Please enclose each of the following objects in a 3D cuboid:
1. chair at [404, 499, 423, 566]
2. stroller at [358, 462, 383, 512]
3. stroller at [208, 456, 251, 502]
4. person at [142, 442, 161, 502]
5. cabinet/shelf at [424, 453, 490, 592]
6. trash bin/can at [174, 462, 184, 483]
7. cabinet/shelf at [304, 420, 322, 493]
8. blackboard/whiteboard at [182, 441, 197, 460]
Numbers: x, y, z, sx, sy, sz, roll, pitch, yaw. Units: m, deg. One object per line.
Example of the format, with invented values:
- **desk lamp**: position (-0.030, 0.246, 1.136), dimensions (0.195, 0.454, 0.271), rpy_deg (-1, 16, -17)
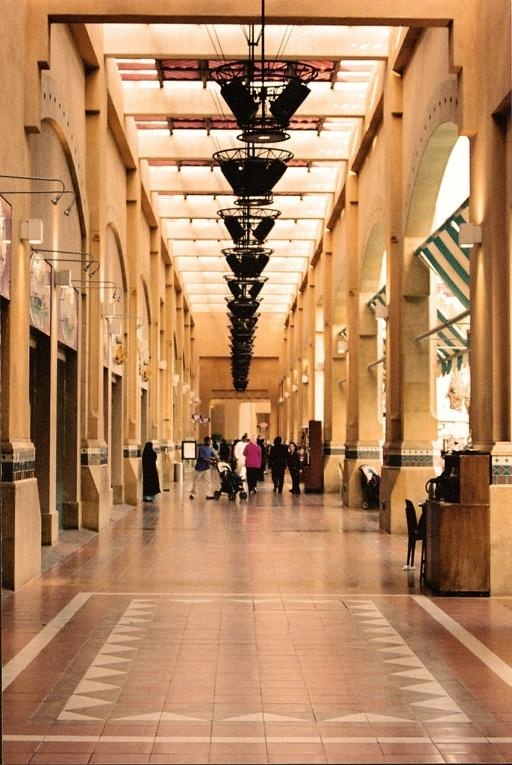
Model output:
- **chair**: position (2.144, 2.010, 10.501), dimensions (0.238, 0.886, 2.474), rpy_deg (-1, -7, 11)
- **stroller**: position (2.858, 2.638, 19.645), dimensions (0.640, 1.723, 0.636), rpy_deg (1, -1, -2)
- **stroller**: position (-0.769, 2.959, 23.115), dimensions (1.013, 1.748, 0.761), rpy_deg (-4, -6, 34)
- **person**: position (-2.914, 2.417, 21.101), dimensions (0.459, 1.592, 0.787), rpy_deg (0, -5, -10)
- **cabinet/shelf**: position (2.261, 1.578, 8.806), dimensions (0.735, 1.591, 0.845), rpy_deg (0, -5, -6)
- **trash bin/can**: position (-3.108, 3.528, 30.755), dimensions (0.409, 1.275, 0.644), rpy_deg (0, -3, -5)
- **cabinet/shelf**: position (1.842, 2.394, 24.985), dimensions (0.628, 2.288, 1.477), rpy_deg (-1, -5, 5)
- **blackboard/whiteboard**: position (-2.497, 2.436, 28.462), dimensions (0.436, 1.075, 0.571), rpy_deg (0, -1, -2)
